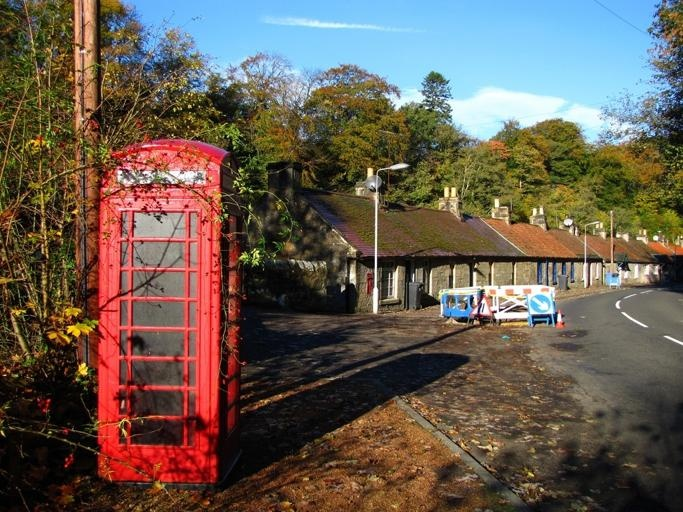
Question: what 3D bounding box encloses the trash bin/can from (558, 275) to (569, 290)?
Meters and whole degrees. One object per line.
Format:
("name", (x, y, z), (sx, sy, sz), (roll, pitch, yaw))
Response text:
("trash bin/can", (15.513, 1.896, 45.879), (0.968, 1.366, 0.984), (0, 2, 18))
